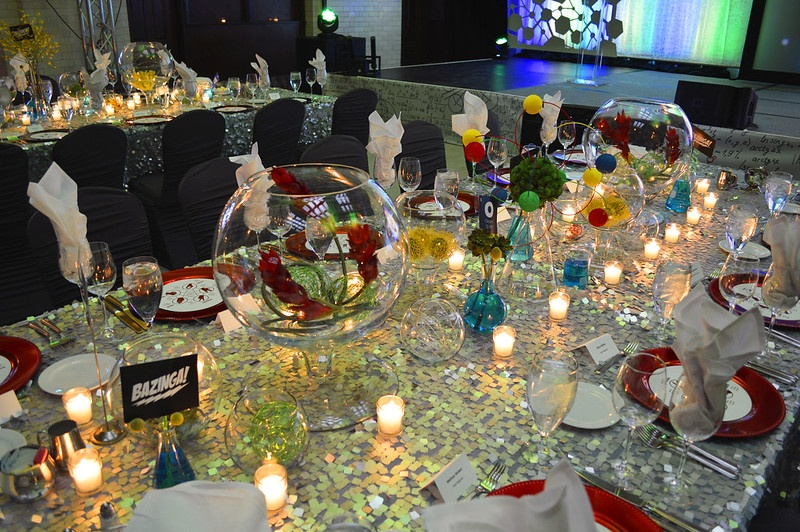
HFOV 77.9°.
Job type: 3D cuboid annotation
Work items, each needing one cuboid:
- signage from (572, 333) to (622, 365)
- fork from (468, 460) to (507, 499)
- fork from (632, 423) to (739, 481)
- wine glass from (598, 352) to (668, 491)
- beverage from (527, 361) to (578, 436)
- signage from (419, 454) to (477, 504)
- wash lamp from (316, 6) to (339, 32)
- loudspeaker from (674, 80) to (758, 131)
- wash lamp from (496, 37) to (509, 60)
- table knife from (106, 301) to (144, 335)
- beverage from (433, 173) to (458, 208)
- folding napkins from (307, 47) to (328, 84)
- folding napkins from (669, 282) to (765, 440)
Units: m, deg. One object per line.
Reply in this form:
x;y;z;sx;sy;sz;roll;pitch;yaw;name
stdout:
0.597;0.229;1.482;0.114;0.044;0.086;-20;37;-32;signage
0.199;0.499;1.149;0.026;0.021;0.149;31;61;31;fork
0.724;0.473;1.271;0.046;0.039;0.272;1;8;-32;fork
0.560;0.380;1.201;0.082;0.254;0.081;7;-2;27;wine glass
0.354;0.317;1.191;0.110;0.177;0.093;1;26;3;beverage
0.106;0.491;1.158;0.089;0.076;0.141;10;33;43;signage
-1.164;-3.899;7.845;0.301;0.348;0.256;4;26;9;wash lamp
2.839;-1.458;4.474;0.632;0.346;0.644;16;22;28;loudspeaker
2.215;-4.796;10.807;0.316;0.403;0.150;-3;26;-5;wash lamp
-0.900;0.148;1.594;0.040;0.228;0.019;-35;61;-19;table knife
0.203;-0.344;2.240;0.116;0.179;0.116;7;11;38;beverage
-0.921;-2.218;5.605;0.186;0.339;0.166;-15;3;-37;folding napkins
0.708;0.210;1.158;0.114;0.317;0.216;5;11;-41;folding napkins
